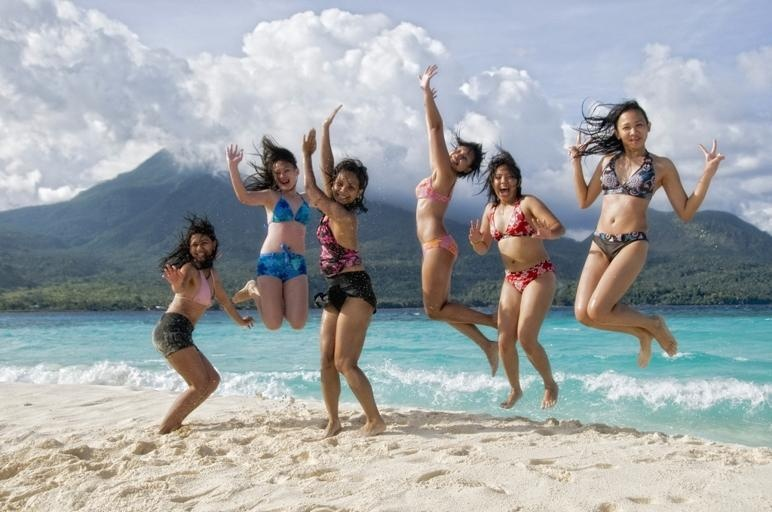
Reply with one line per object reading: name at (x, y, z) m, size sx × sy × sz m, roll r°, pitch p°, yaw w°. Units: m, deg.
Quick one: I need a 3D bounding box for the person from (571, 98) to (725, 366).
person at (3.270, -0.206, 7.493) m, size 1.598 × 3.652 × 1.005 m, roll -3°, pitch 7°, yaw 9°

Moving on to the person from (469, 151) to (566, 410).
person at (1.845, 0.385, 7.796) m, size 0.733 × 3.719 × 1.242 m, roll -10°, pitch 9°, yaw -41°

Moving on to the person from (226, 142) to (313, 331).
person at (-1.591, -0.364, 8.072) m, size 0.909 × 2.686 × 1.113 m, roll -4°, pitch 7°, yaw 0°
